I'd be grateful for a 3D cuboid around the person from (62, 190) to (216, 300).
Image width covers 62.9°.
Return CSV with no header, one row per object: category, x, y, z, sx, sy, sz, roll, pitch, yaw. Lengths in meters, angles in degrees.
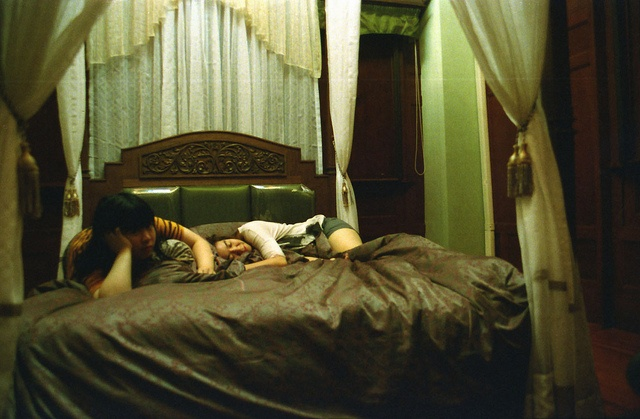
person,-0.982,0.158,2.789,0.693,0.458,0.559,11,26,29
